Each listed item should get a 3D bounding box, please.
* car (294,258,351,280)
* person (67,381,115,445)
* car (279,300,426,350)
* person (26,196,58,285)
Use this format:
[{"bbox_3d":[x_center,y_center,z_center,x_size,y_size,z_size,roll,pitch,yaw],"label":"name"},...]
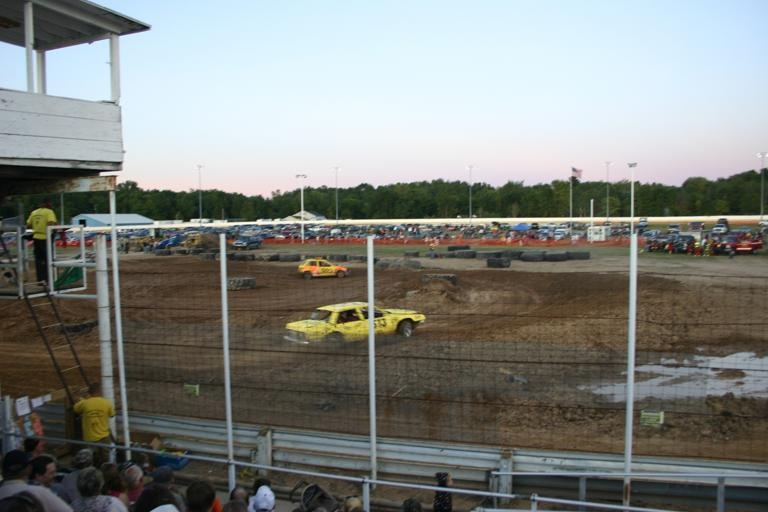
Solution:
[{"bbox_3d":[-2.825,0.584,41.927,2.364,0.585,0.970,-2,8,-7],"label":"car"},{"bbox_3d":[-5.895,3.190,18.342,0.760,1.227,0.454,-2,3,-20],"label":"person"},{"bbox_3d":[-0.451,1.874,25.252,3.827,0.630,1.823,-6,8,-27],"label":"car"},{"bbox_3d":[-7.593,-0.355,19.986,0.602,1.781,0.743,-3,3,-19],"label":"person"}]
